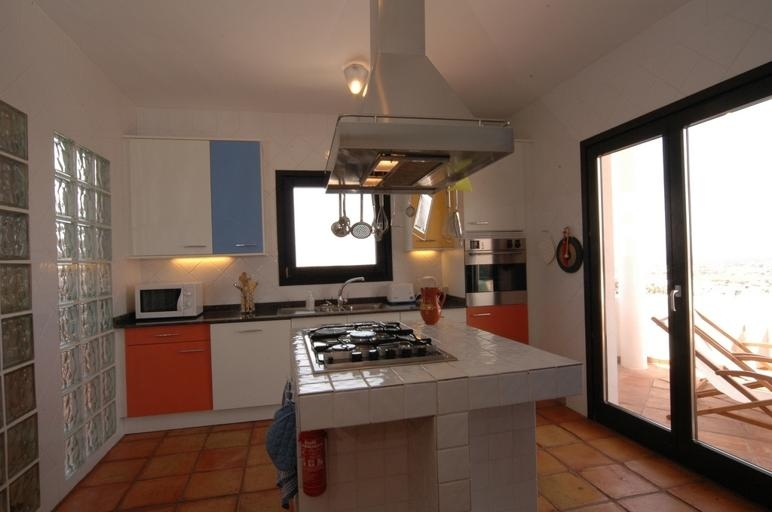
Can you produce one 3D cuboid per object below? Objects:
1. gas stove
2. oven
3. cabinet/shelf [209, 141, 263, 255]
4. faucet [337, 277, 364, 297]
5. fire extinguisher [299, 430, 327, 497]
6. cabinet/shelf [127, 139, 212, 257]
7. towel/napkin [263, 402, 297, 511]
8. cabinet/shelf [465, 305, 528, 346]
[{"bbox_3d":[-0.108,0.613,3.712,0.960,0.141,0.980,-5,15,-12],"label":"gas stove"},{"bbox_3d":[1.237,0.137,5.801,0.653,0.789,0.509,-3,13,9],"label":"oven"},{"bbox_3d":[-1.562,-0.606,5.310,0.534,1.167,0.295,-4,14,-7],"label":"cabinet/shelf"},{"bbox_3d":[-0.384,0.356,5.745,0.311,0.269,0.361,-3,14,-4],"label":"faucet"},{"bbox_3d":[-0.465,1.327,3.264,0.158,0.425,0.100,-5,14,-12],"label":"fire extinguisher"},{"bbox_3d":[-2.182,-0.594,5.181,0.775,1.162,0.315,-3,14,-4],"label":"cabinet/shelf"},{"bbox_3d":[-0.695,1.386,3.486,0.204,0.771,0.340,-10,16,-29],"label":"towel/napkin"},{"bbox_3d":[1.227,0.715,5.736,0.633,0.619,0.429,1,-4,-13],"label":"cabinet/shelf"}]
